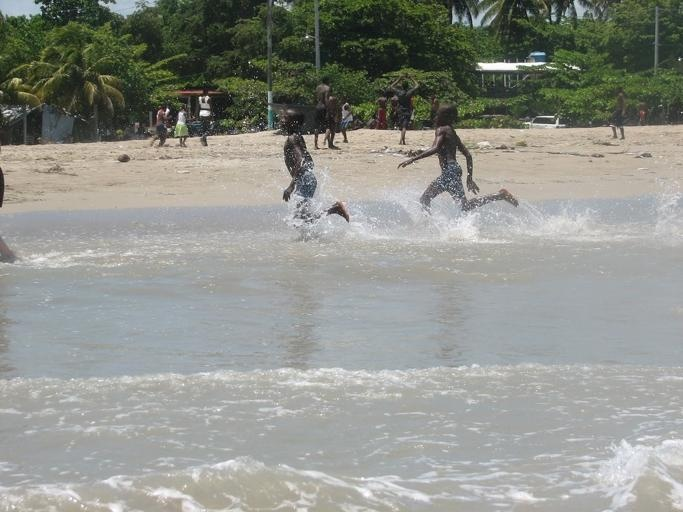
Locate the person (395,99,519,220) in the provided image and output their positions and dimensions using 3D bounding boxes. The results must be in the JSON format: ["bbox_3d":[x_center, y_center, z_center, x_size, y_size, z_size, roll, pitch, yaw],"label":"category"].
[{"bbox_3d":[1.527,-1.334,15.823,1.192,1.454,1.801,-1,4,9],"label":"person"}]

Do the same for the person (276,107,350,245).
[{"bbox_3d":[-0.430,-1.036,14.517,0.861,1.538,0.763,-4,5,-21],"label":"person"}]
